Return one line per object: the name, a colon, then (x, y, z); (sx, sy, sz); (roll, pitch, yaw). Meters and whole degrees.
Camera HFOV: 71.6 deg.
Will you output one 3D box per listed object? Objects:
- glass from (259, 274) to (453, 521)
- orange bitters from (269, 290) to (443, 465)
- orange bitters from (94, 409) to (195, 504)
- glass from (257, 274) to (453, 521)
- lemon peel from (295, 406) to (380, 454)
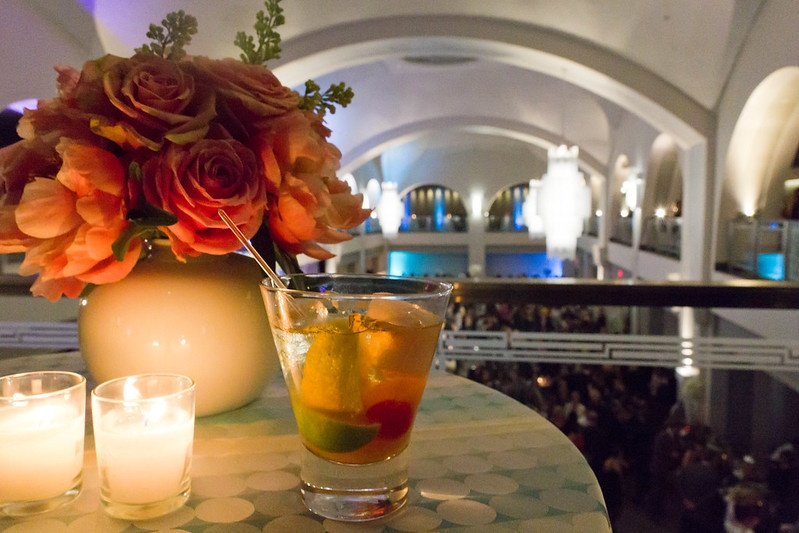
glass: (-0.050, 0.161, 0.805); (0.300, 0.308, 0.281); (1, 0, -2)
orange bitters: (-0.059, 0.137, 0.755); (0.216, 0.176, 0.216); (1, -5, -2)
orange bitters: (-0.340, 0.245, 0.746); (0.134, 0.132, 0.139); (1, -1, -22)
glass: (-0.046, 0.160, 0.805); (0.300, 0.309, 0.281); (1, 0, -2)
lemon peel: (-0.076, 0.201, 0.683); (0.072, 0.043, 0.064); (30, -22, -28)
